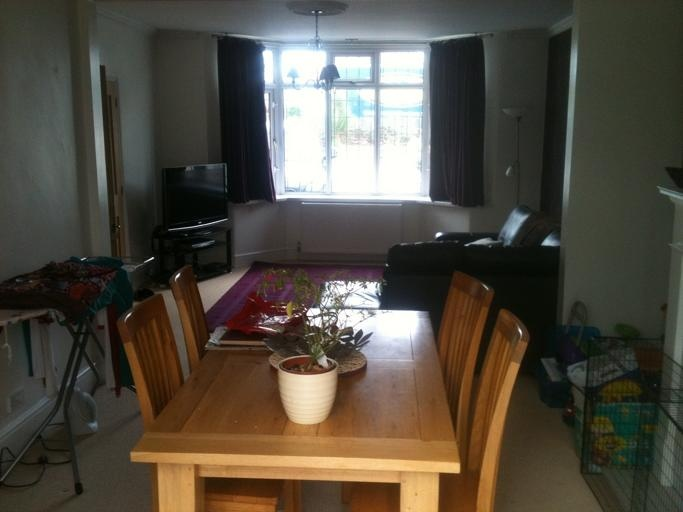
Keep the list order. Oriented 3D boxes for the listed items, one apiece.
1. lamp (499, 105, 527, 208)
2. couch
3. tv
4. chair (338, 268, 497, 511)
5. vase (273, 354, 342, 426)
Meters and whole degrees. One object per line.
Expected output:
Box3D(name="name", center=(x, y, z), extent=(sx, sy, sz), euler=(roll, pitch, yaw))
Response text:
Box3D(name="lamp", center=(2.064, -1.184, 6.642), extent=(0.274, 1.225, 0.750), euler=(2, 12, 16))
Box3D(name="couch", center=(1.314, 0.273, 5.255), extent=(1.380, 1.505, 2.065), euler=(3, 6, 16))
Box3D(name="tv", center=(-1.832, -0.725, 6.867), extent=(0.105, 0.785, 1.002), euler=(10, 16, 34))
Box3D(name="chair", center=(0.351, 0.594, 2.417), extent=(0.622, 1.057, 1.007), euler=(1, 16, 5))
Box3D(name="vase", center=(-0.131, 0.510, 2.090), extent=(0.223, 0.207, 0.219), euler=(5, 10, 16))
